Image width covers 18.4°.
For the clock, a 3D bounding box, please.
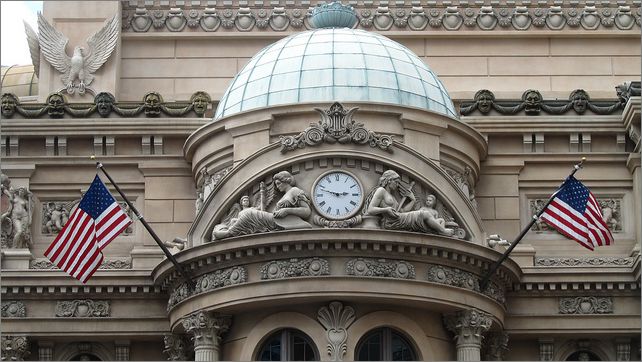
[{"bbox_3d":[0.737,0.636,84.366,2.521,2.081,0.196,-1,-1,33],"label":"clock"}]
